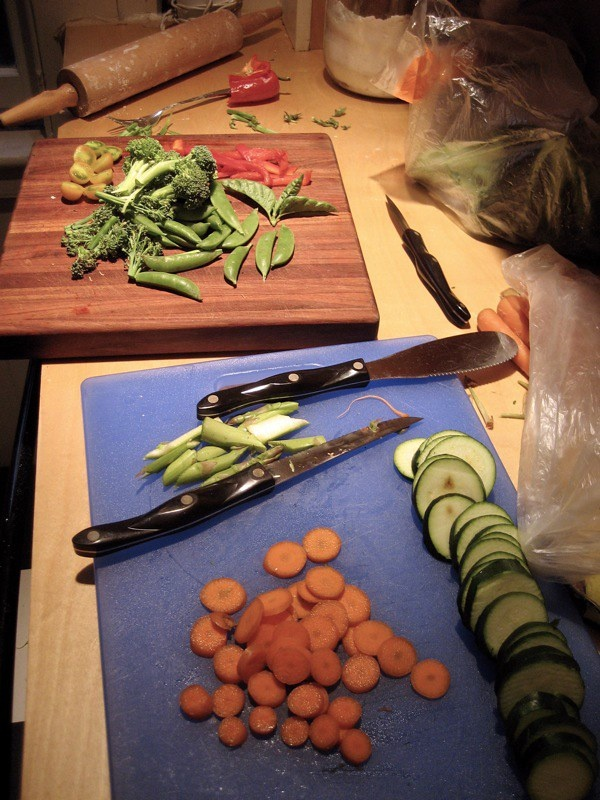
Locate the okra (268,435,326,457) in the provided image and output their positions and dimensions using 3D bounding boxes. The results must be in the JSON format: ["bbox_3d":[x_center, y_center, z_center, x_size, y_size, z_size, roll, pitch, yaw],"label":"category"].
[{"bbox_3d":[-0.005,0.094,1.409,0.122,0.032,0.043,-10,48,-8],"label":"okra"}]

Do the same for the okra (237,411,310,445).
[{"bbox_3d":[-0.059,0.051,1.389,0.108,0.025,0.061,-21,42,-36],"label":"okra"}]

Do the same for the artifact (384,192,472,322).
[{"bbox_3d":[0.327,-0.455,1.932,0.092,0.090,0.636,9,35,-25],"label":"artifact"}]

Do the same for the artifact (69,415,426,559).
[{"bbox_3d":[-0.108,0.190,1.302,0.726,0.103,0.079,-15,23,-20],"label":"artifact"}]

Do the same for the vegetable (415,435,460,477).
[{"bbox_3d":[0.290,0.117,1.361,0.093,0.024,0.084,-14,6,21],"label":"vegetable"}]

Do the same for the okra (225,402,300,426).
[{"bbox_3d":[-0.090,0.031,1.418,0.096,0.021,0.021,-18,47,-30],"label":"okra"}]

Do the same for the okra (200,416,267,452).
[{"bbox_3d":[-0.137,0.084,1.373,0.138,0.053,0.056,19,80,0],"label":"okra"}]

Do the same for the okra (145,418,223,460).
[{"bbox_3d":[-0.247,0.087,1.363,0.136,0.021,0.032,-29,44,-29],"label":"okra"}]

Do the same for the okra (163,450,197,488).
[{"bbox_3d":[-0.249,0.139,1.309,0.046,0.032,0.091,38,60,19],"label":"okra"}]

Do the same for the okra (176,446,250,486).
[{"bbox_3d":[-0.176,0.134,1.362,0.160,0.049,0.052,-18,47,-19],"label":"okra"}]

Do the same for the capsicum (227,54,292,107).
[{"bbox_3d":[-0.169,-1.315,2.651,0.262,0.117,0.153,-18,60,-11],"label":"capsicum"}]
